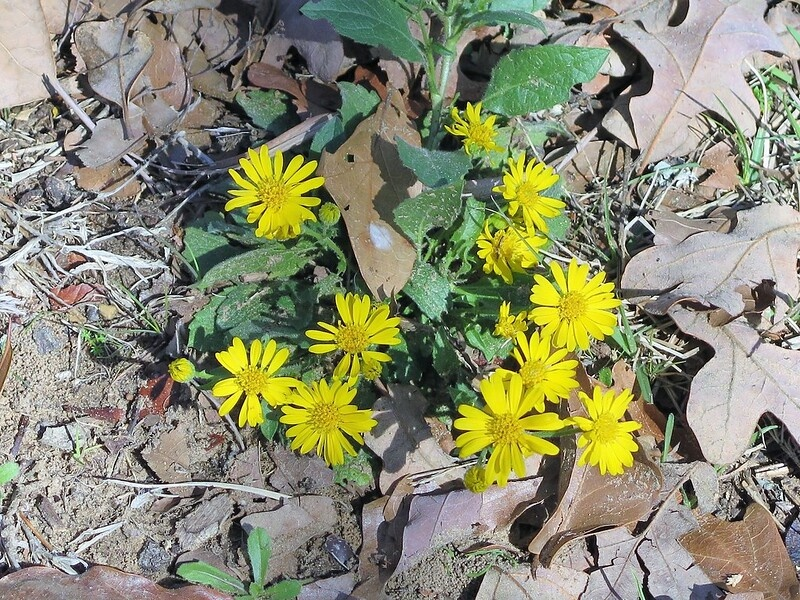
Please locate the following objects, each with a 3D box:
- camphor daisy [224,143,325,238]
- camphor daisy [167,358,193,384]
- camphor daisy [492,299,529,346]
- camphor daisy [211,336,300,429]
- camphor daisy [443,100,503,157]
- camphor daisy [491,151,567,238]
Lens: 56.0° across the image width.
[{"bbox_3d":[-0.521,-0.426,3.174,0.369,0.346,0.320,9,59,-3],"label":"camphor daisy"},{"bbox_3d":[-0.925,0.288,3.161,0.096,0.118,0.106,12,79,9],"label":"camphor daisy"},{"bbox_3d":[0.465,0.091,3.256,0.068,0.152,0.126,-35,57,-11],"label":"camphor daisy"},{"bbox_3d":[-0.617,0.314,3.140,0.341,0.119,0.353,1,35,-5],"label":"camphor daisy"},{"bbox_3d":[0.322,-0.787,3.364,0.215,0.236,0.093,-10,37,5],"label":"camphor daisy"},{"bbox_3d":[0.568,-0.500,3.363,0.303,0.295,0.109,24,53,-23],"label":"camphor daisy"}]
